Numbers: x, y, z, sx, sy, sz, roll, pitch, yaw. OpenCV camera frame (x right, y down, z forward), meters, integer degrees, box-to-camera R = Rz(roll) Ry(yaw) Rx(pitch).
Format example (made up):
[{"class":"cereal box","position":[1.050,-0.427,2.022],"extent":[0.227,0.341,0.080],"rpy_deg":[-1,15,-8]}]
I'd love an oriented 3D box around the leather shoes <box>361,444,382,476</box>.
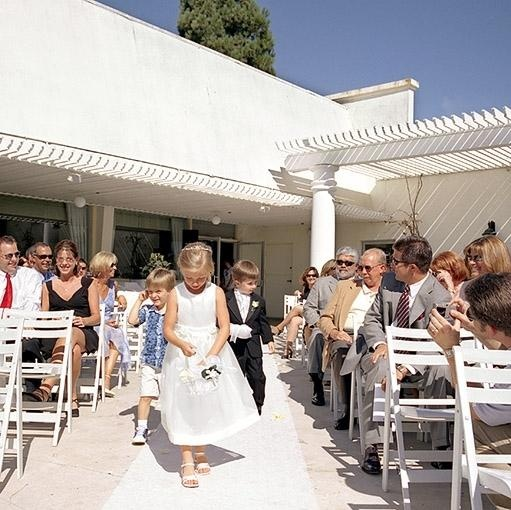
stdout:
[{"class":"leather shoes","position":[0.856,1.480,3.787],"extent":[0.144,0.194,0.214],"rpy_deg":[0,-3,11]}]

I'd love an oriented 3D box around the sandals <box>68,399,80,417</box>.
[{"class":"sandals","position":[-1.855,1.561,5.221],"extent":[0.074,0.249,0.098],"rpy_deg":[0,8,-6]}]

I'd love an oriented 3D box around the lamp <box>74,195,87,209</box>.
[{"class":"lamp","position":[-3.932,-1.187,11.477],"extent":[0.294,0.345,0.296],"rpy_deg":[4,2,-7]}]

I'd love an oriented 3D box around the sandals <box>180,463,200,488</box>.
[{"class":"sandals","position":[-0.431,1.420,3.357],"extent":[0.113,0.140,0.203],"rpy_deg":[1,-3,-8]}]

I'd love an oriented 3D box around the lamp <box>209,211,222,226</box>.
[{"class":"lamp","position":[-1.139,-1.120,15.090],"extent":[0.316,0.323,0.088],"rpy_deg":[-26,-5,36]}]

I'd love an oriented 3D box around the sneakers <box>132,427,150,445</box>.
[{"class":"sneakers","position":[-0.961,1.513,4.275],"extent":[0.087,0.112,0.268],"rpy_deg":[2,-20,-7]}]
